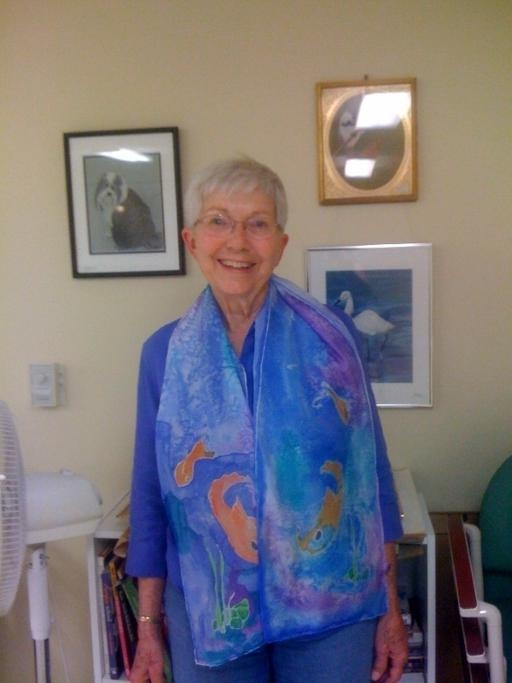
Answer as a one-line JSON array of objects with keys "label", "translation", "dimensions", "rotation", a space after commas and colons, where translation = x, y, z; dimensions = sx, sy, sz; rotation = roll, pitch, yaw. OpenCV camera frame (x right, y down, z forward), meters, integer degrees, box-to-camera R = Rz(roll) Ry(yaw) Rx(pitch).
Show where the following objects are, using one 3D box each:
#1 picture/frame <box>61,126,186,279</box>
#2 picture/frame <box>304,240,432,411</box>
[{"label": "picture/frame", "translation": [-0.368, -0.418, 1.823], "dimensions": [0.379, 0.523, 0.033], "rotation": [-1, 7, 7]}, {"label": "picture/frame", "translation": [0.316, -0.052, 1.798], "dimensions": [0.356, 0.528, 0.021], "rotation": [0, -31, 11]}]
